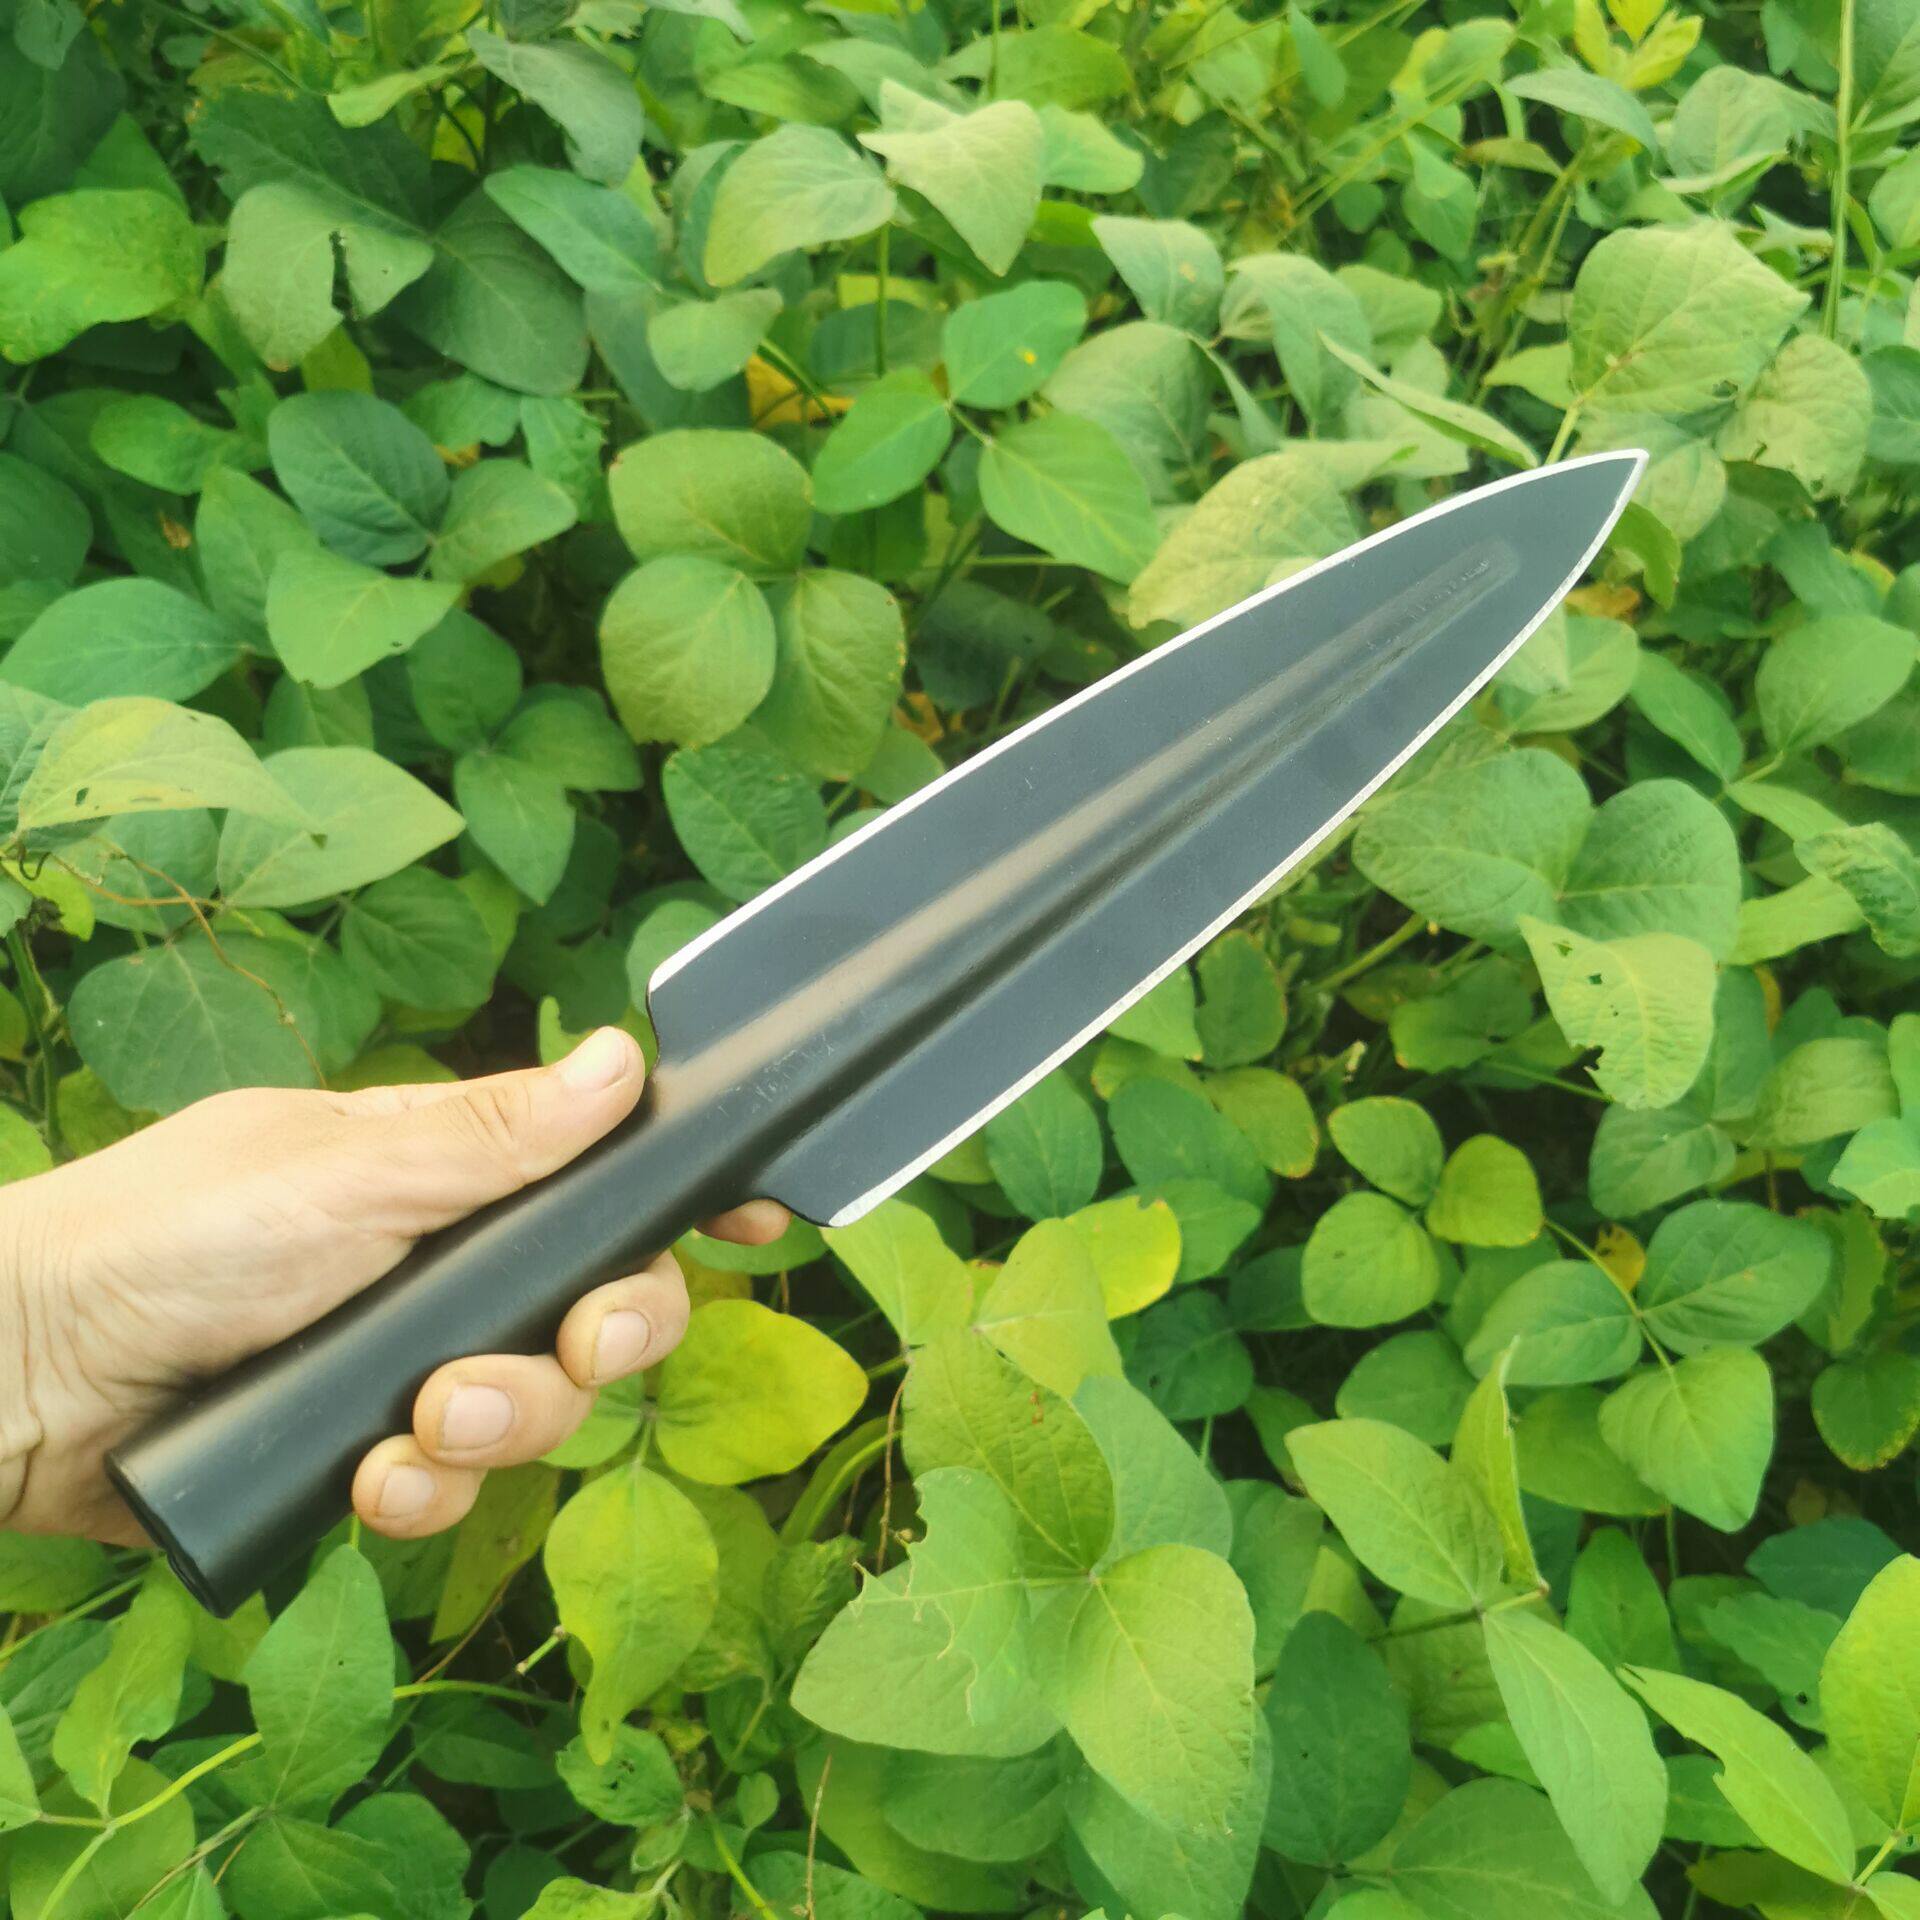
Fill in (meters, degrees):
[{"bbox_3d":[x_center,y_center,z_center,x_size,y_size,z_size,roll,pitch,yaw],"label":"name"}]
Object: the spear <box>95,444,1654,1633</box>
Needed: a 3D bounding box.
[{"bbox_3d":[-0.048,0.034,1.011,0.749,0.107,0.160,-36,85,-10],"label":"spear"}]
